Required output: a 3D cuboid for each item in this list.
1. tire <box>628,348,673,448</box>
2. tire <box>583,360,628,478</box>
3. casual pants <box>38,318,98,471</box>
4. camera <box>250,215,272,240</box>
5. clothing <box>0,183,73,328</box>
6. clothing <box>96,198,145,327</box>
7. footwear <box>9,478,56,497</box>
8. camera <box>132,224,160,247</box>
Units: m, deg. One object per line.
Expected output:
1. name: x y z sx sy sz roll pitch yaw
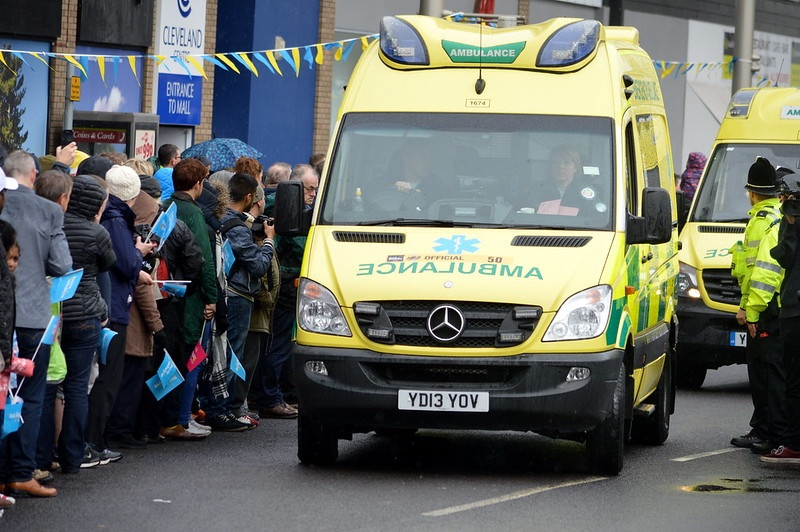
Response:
1. tire: 2.379 1.249 9.675 0.352 1.075 1.047 2 2 20
2. tire: 1.683 1.213 8.325 0.297 0.974 0.943 0 -4 15
3. casual pants: -2.743 0.993 8.332 0.527 1.326 0.374 0 -2 -4
4. camera: -1.383 -0.405 10.358 0.194 0.233 0.210 3 -1 26
5. clothing: -2.790 -0.079 7.719 0.465 1.055 0.314 2 5 5
6. clothing: -2.465 -0.079 9.040 0.526 1.016 0.721 5 7 -14
7. footwear: -2.799 1.676 7.824 0.366 0.165 0.136 3 5 -14
8. camera: -2.358 -0.313 9.308 0.159 0.239 0.097 9 13 12
